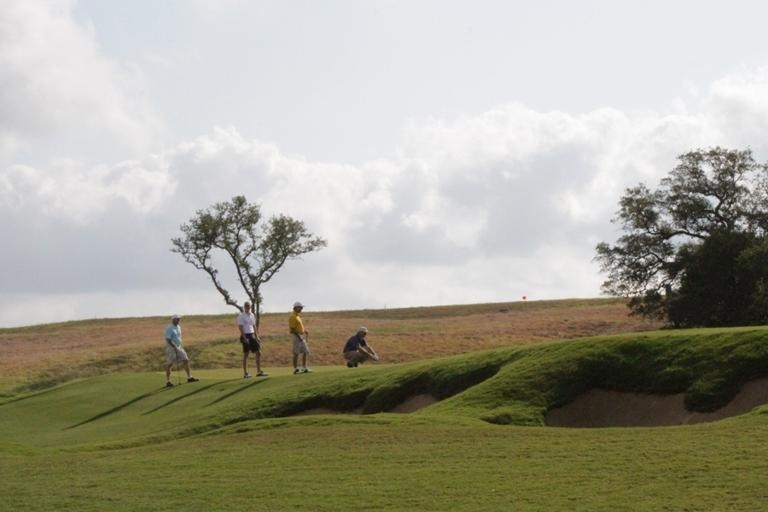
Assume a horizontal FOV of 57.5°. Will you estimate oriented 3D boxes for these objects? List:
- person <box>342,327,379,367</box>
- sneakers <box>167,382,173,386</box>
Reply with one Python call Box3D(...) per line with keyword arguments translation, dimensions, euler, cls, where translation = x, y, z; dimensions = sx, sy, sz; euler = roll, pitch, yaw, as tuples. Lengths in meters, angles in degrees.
Box3D(translation=(-0.890, 3.604, 26.890), dimensions=(1.320, 1.709, 0.971), euler=(3, -2, 8), cls="person")
Box3D(translation=(-8.018, 4.787, 26.183), dimensions=(0.196, 0.152, 0.162), euler=(-5, -7, 33), cls="sneakers")
